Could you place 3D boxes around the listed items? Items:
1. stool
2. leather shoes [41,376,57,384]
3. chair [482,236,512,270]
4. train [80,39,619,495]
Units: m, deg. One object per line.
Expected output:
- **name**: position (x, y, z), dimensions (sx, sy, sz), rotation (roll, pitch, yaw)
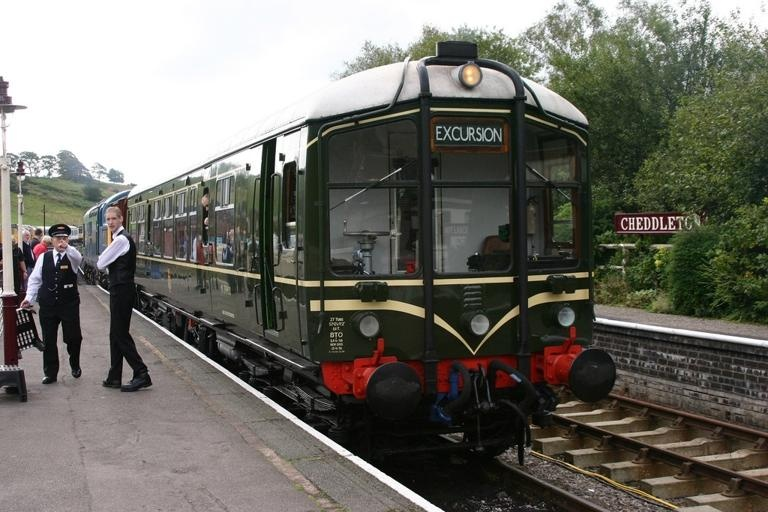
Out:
- **stool**: position (-5.397, 1.420, 8.649), dimensions (0.658, 1.193, 0.337), rotation (2, -6, -44)
- **leather shoes**: position (-5.058, 1.900, 8.802), dimensions (0.234, 0.104, 0.089), rotation (9, -5, -42)
- **chair**: position (1.350, -0.024, 6.938), dimensions (0.285, 0.417, 0.402), rotation (0, -12, -13)
- **train**: position (-2.038, -0.117, 12.997), dimensions (3.372, 4.854, 15.860), rotation (-2, 1, -19)
